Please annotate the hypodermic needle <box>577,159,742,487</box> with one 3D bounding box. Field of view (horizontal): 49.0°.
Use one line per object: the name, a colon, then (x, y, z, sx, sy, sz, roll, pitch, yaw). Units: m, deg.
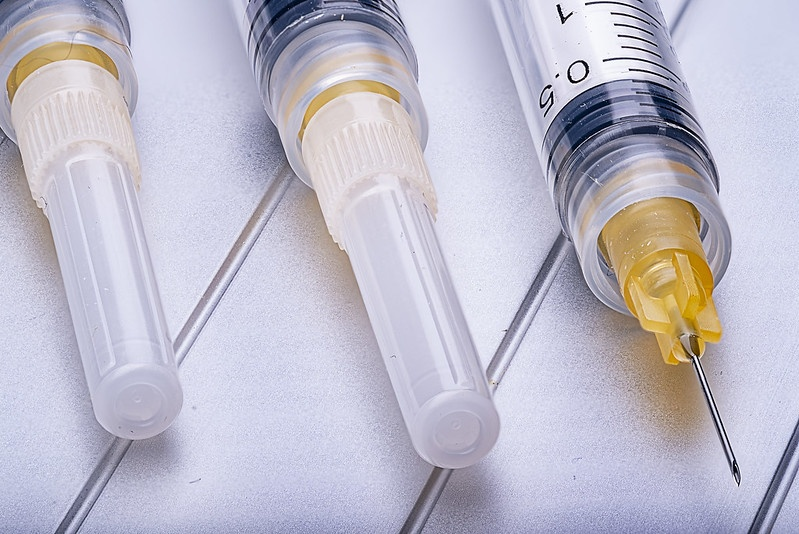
hypodermic needle: (0.296, 0.050, 0.947, 0.170, 0.323, 0.153, 20, -41, -28)
